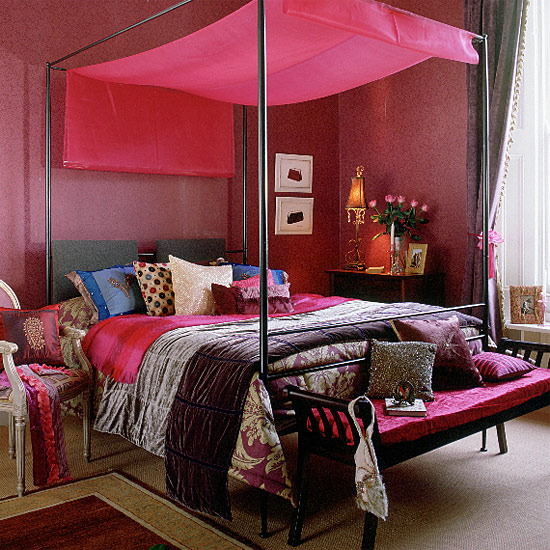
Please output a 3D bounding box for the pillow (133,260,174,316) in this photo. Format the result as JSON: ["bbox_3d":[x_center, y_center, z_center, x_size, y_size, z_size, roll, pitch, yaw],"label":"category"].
[{"bbox_3d":[-0.823,0.074,3.352,0.109,0.329,0.356,-23,3,17],"label":"pillow"}]

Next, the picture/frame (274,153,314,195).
[{"bbox_3d":[0.176,-1.047,5.107,0.496,0.400,0.037,-1,2,-38],"label":"picture/frame"}]

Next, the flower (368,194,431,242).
[{"bbox_3d":[1.196,-0.516,4.789,0.485,0.389,0.478,4,-10,-6],"label":"flower"}]

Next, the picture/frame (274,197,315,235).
[{"bbox_3d":[0.211,-0.618,5.168,0.496,0.381,0.024,-5,12,-36],"label":"picture/frame"}]

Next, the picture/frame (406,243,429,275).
[{"bbox_3d":[1.349,-0.146,4.624,0.015,0.421,0.290,11,-10,-41],"label":"picture/frame"}]

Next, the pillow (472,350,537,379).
[{"bbox_3d":[1.153,0.434,2.564,0.179,0.058,0.164,-3,3,-40],"label":"pillow"}]

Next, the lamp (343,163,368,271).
[{"bbox_3d":[0.850,-0.591,5.037,0.286,1.054,0.274,4,2,35],"label":"lamp"}]

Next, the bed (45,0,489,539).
[{"bbox_3d":[-0.019,-0.137,3.604,2.906,2.522,2.636,-1,1,40],"label":"bed"}]

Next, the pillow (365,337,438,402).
[{"bbox_3d":[0.582,0.423,2.275,0.263,0.119,0.257,1,40,17],"label":"pillow"}]
